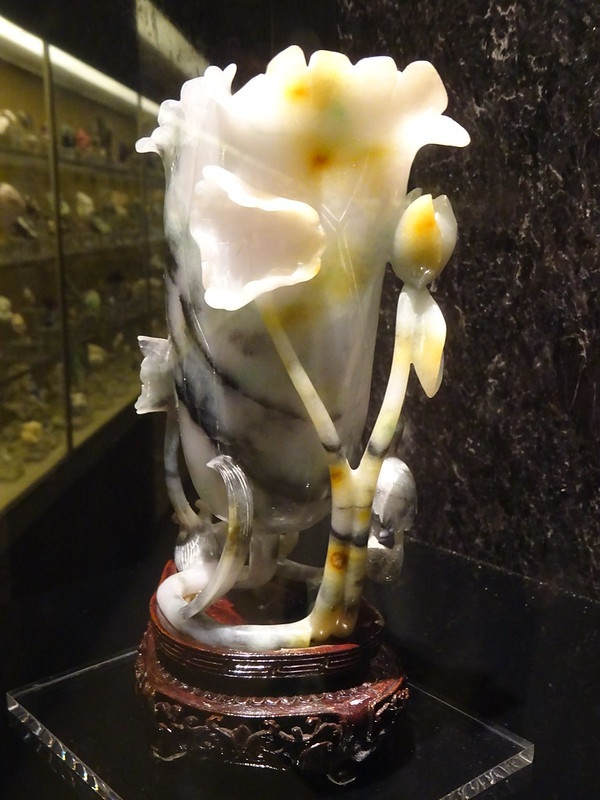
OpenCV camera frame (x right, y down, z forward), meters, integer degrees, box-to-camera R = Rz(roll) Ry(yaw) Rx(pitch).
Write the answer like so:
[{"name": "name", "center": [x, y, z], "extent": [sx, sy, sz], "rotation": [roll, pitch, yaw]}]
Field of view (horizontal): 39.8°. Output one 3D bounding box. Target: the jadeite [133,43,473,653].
[{"name": "jadeite", "center": [0.069, -0.094, 1.253], "extent": [0.485, 0.997, 0.597], "rotation": [7, 12, 17]}]
